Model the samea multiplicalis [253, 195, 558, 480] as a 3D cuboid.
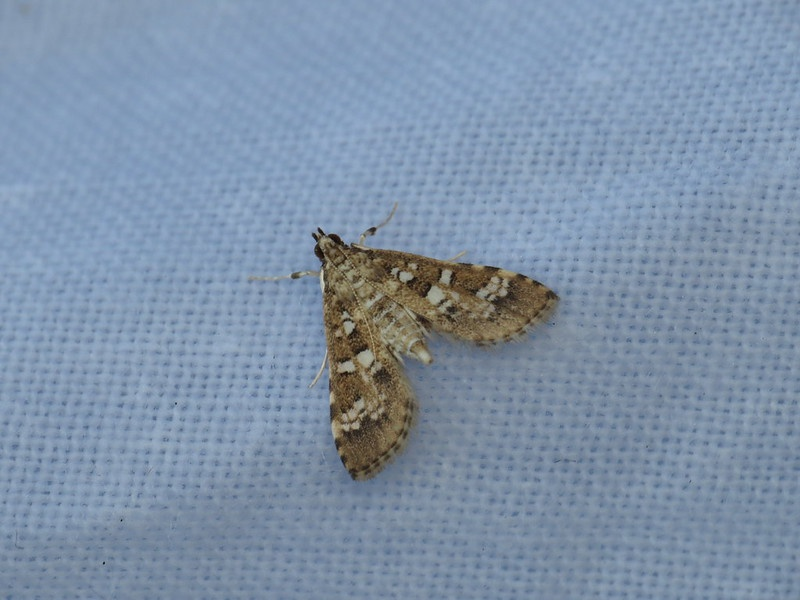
[{"bbox_3d":[-0.007,0.149,5.040,1.333,0.341,1.091,-32,86,3],"label":"samea multiplicalis"}]
